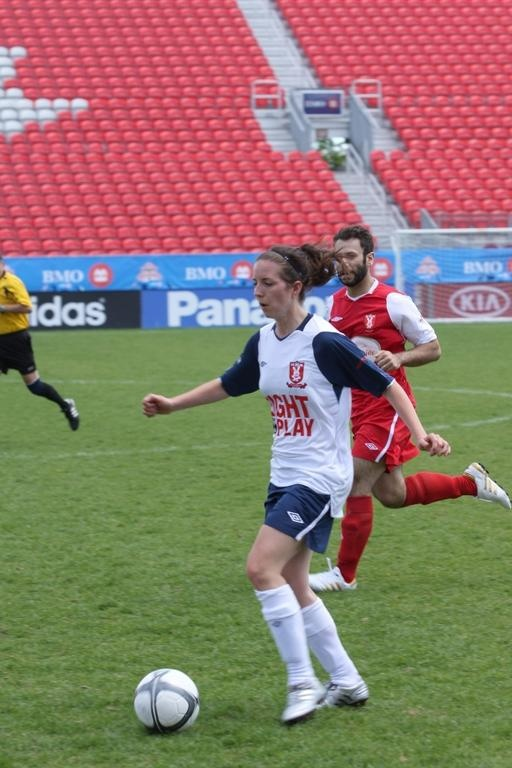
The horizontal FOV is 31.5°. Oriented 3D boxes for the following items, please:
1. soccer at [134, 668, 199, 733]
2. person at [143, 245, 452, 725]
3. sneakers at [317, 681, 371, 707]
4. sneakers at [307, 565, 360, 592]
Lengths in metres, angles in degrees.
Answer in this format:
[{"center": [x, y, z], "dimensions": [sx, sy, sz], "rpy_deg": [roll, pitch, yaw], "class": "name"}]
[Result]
[{"center": [-0.280, 1.004, 2.875], "dimensions": [0.203, 0.166, 0.122], "rpy_deg": [0, 11, -6], "class": "soccer"}, {"center": [0.215, 0.307, 3.117], "dimensions": [0.640, 1.551, 0.758], "rpy_deg": [-3, 12, -17], "class": "person"}, {"center": [0.291, 1.025, 3.002], "dimensions": [0.212, 0.075, 0.069], "rpy_deg": [1, -4, -5], "class": "sneakers"}, {"center": [0.333, 0.890, 4.071], "dimensions": [0.267, 0.091, 0.087], "rpy_deg": [-1, -9, 3], "class": "sneakers"}]
